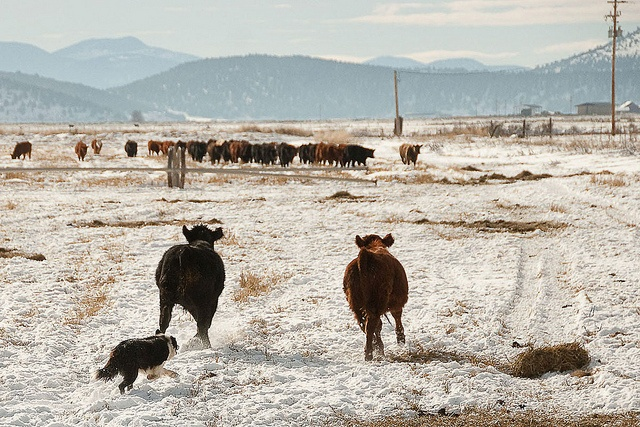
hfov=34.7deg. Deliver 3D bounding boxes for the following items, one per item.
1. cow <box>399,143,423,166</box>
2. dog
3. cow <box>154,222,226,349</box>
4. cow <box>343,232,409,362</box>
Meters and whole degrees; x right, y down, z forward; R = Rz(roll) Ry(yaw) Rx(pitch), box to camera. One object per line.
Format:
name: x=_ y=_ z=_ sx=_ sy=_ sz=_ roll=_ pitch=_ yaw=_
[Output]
cow: x=5.402 y=-3.484 z=60.558 sx=1.028 sy=1.290 sz=2.475 roll=0 pitch=15 yaw=2
dog: x=-6.357 y=5.341 z=36.485 sx=3.106 sy=2.014 sz=0.979 roll=-15 pitch=30 yaw=-29
cow: x=-4.746 y=2.857 z=37.517 sx=2.499 sy=3.874 sz=1.595 roll=-6 pitch=14 yaw=-18
cow: x=2.385 y=3.353 z=38.765 sx=1.888 sy=4.438 sz=5.937 roll=-7 pitch=-7 yaw=14
